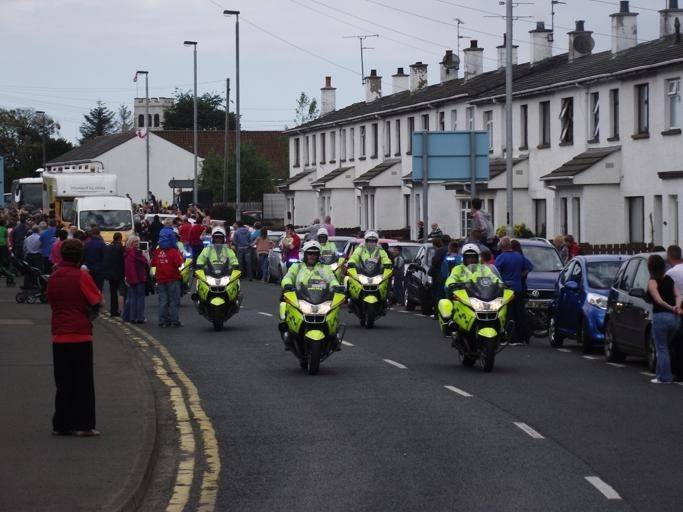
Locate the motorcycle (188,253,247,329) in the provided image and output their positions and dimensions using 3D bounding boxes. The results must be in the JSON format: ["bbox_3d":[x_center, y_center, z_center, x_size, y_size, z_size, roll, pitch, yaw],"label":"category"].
[{"bbox_3d":[-2.633,0.701,23.969,0.916,1.742,1.127,-1,5,-25],"label":"motorcycle"}]

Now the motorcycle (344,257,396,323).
[{"bbox_3d":[0.574,0.670,25.340,0.861,1.513,2.776,3,3,-4],"label":"motorcycle"}]

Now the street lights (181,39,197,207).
[{"bbox_3d":[-5.113,-4.871,39.476,0.759,7.033,0.681,-8,-27,6],"label":"street lights"}]

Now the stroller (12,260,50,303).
[{"bbox_3d":[-8.269,0.660,30.610,1.021,1.194,0.788,0,0,-16],"label":"stroller"}]

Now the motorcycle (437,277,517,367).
[{"bbox_3d":[2.248,1.113,18.656,1.135,1.557,0.652,0,4,13],"label":"motorcycle"}]

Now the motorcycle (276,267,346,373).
[{"bbox_3d":[-0.509,0.891,18.913,0.901,1.666,2.855,1,6,-6],"label":"motorcycle"}]
